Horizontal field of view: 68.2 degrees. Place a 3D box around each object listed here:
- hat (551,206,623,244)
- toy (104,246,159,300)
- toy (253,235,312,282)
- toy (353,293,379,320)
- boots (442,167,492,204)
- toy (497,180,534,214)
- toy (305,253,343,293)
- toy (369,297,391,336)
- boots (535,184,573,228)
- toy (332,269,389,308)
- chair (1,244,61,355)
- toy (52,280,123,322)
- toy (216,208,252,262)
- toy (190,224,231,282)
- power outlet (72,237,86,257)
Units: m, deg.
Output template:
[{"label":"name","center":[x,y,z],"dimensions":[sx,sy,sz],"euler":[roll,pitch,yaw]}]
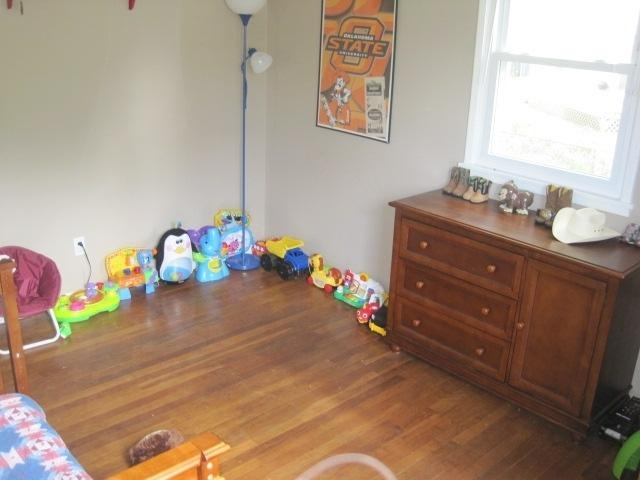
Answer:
[{"label":"hat","center":[1.422,-0.098,2.519],"dimensions":[0.358,0.146,0.343],"euler":[-13,16,-20]},{"label":"toy","center":[-1.503,0.253,3.794],"dimensions":[0.374,0.378,0.182],"euler":[-13,21,-35]},{"label":"toy","center":[-0.350,0.119,4.234],"dimensions":[0.278,0.254,0.484],"euler":[-16,27,-38]},{"label":"toy","center":[0.359,0.501,3.557],"dimensions":[0.081,0.211,0.114],"euler":[40,-12,-32]},{"label":"boots","center":[0.943,-0.355,3.030],"dimensions":[0.190,0.130,0.280],"euler":[25,33,25]},{"label":"toy","center":[1.176,-0.261,2.842],"dimensions":[0.188,0.167,0.143],"euler":[10,20,11]},{"label":"toy","center":[0.041,0.279,3.992],"dimensions":[0.127,0.201,0.241],"euler":[-13,26,-43]},{"label":"toy","center":[0.429,0.571,3.401],"dimensions":[0.114,0.077,0.203],"euler":[14,23,34]},{"label":"boots","center":[1.320,-0.221,2.744],"dimensions":[0.241,0.249,0.190],"euler":[-14,21,-37]},{"label":"toy","center":[0.318,0.390,3.749],"dimensions":[0.349,0.226,0.197],"euler":[27,32,19]},{"label":"chair","center":[-1.805,0.386,2.947],"dimensions":[0.426,0.480,0.430],"euler":[-15,46,-40]},{"label":"toy","center":[-1.691,0.457,3.448],"dimensions":[0.229,0.081,0.320],"euler":[26,31,35]},{"label":"toy","center":[-0.772,-0.054,4.290],"dimensions":[0.323,0.438,0.138],"euler":[-9,3,-36]},{"label":"toy","center":[-0.949,0.103,4.088],"dimensions":[0.247,0.449,0.328],"euler":[17,24,33]},{"label":"power outlet","center":[-1.870,0.041,3.657],"dimensions":[0.015,0.190,0.127],"euler":[16,19,41]}]
